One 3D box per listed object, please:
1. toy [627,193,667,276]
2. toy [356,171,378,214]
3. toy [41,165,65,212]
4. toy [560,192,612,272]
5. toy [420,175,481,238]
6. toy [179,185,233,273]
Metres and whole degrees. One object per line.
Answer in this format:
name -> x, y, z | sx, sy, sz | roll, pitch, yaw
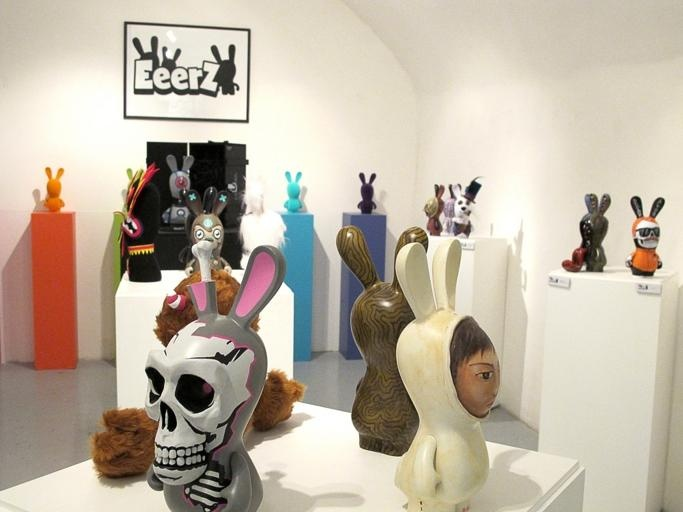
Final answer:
toy -> 1.493, -0.105, 2.607 | 0.152, 0.372, 0.332 | 5, 9, 32
toy -> 0.228, -0.571, 4.794 | 0.177, 0.369, 0.347 | 1, 8, 3
toy -> -2.339, -0.540, 4.305 | 0.159, 0.355, 0.362 | -4, 9, -30
toy -> 1.264, -0.122, 2.742 | 0.229, 0.396, 0.155 | 3, 8, 14
toy -> 0.751, -0.343, 3.828 | 0.289, 0.397, 0.417 | -1, 8, -15
toy -> -0.681, -0.105, 2.656 | 0.226, 0.524, 0.233 | 0, 1, -20
